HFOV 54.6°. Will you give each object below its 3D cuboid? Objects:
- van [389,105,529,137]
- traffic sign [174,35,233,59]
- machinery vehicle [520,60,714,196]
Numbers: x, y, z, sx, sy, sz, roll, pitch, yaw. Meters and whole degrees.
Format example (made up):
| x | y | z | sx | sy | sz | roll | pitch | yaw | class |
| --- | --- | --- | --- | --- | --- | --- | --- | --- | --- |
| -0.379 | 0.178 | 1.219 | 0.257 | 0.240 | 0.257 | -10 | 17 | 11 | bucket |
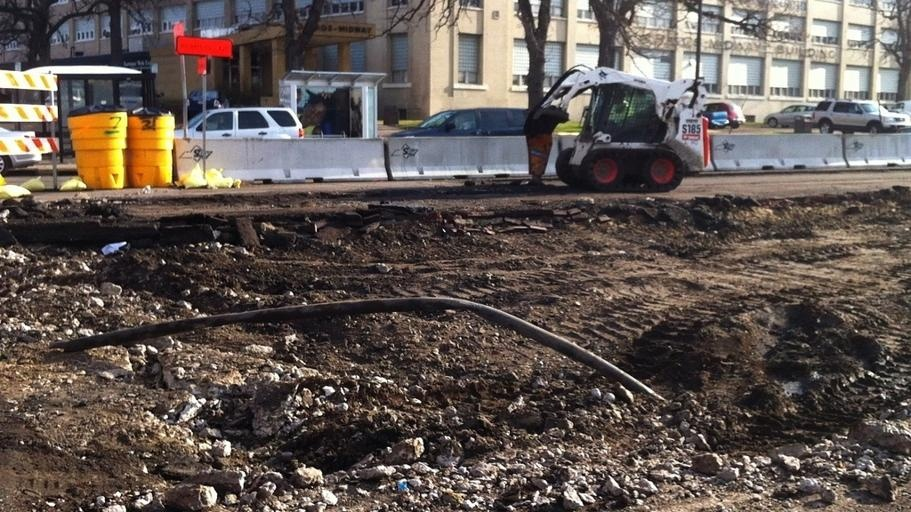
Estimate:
| x | y | z | sx | sy | sz | roll | pitch | yaw | class |
| --- | --- | --- | --- | --- | --- | --- | --- | --- | --- |
| 0.355 | -4.439 | 29.710 | 3.446 | 1.259 | 1.860 | 1 | 5 | -5 | van |
| -6.872 | -5.699 | 24.172 | 0.681 | 0.540 | 2.541 | 2 | 11 | 8 | traffic sign |
| 4.474 | -3.486 | 23.975 | 4.655 | 3.146 | 3.359 | 2 | 16 | 11 | machinery vehicle |
